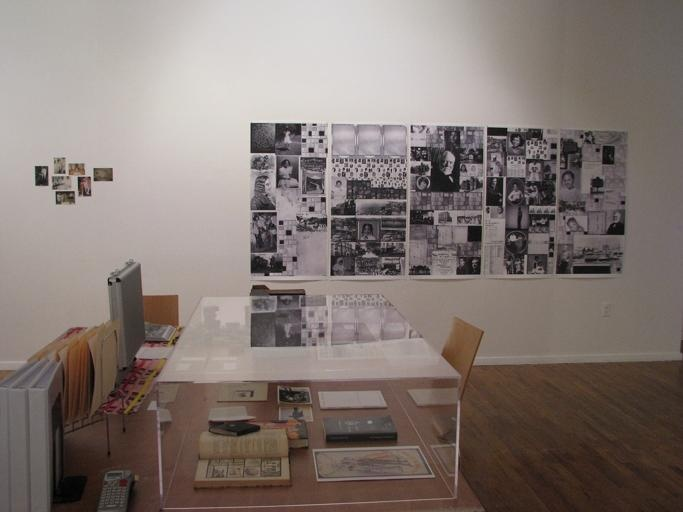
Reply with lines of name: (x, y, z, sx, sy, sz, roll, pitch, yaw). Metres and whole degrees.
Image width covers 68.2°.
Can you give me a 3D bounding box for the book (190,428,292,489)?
book: (-0.391, 0.825, 2.023, 0.242, 0.080, 0.255, 1, 6, -7)
